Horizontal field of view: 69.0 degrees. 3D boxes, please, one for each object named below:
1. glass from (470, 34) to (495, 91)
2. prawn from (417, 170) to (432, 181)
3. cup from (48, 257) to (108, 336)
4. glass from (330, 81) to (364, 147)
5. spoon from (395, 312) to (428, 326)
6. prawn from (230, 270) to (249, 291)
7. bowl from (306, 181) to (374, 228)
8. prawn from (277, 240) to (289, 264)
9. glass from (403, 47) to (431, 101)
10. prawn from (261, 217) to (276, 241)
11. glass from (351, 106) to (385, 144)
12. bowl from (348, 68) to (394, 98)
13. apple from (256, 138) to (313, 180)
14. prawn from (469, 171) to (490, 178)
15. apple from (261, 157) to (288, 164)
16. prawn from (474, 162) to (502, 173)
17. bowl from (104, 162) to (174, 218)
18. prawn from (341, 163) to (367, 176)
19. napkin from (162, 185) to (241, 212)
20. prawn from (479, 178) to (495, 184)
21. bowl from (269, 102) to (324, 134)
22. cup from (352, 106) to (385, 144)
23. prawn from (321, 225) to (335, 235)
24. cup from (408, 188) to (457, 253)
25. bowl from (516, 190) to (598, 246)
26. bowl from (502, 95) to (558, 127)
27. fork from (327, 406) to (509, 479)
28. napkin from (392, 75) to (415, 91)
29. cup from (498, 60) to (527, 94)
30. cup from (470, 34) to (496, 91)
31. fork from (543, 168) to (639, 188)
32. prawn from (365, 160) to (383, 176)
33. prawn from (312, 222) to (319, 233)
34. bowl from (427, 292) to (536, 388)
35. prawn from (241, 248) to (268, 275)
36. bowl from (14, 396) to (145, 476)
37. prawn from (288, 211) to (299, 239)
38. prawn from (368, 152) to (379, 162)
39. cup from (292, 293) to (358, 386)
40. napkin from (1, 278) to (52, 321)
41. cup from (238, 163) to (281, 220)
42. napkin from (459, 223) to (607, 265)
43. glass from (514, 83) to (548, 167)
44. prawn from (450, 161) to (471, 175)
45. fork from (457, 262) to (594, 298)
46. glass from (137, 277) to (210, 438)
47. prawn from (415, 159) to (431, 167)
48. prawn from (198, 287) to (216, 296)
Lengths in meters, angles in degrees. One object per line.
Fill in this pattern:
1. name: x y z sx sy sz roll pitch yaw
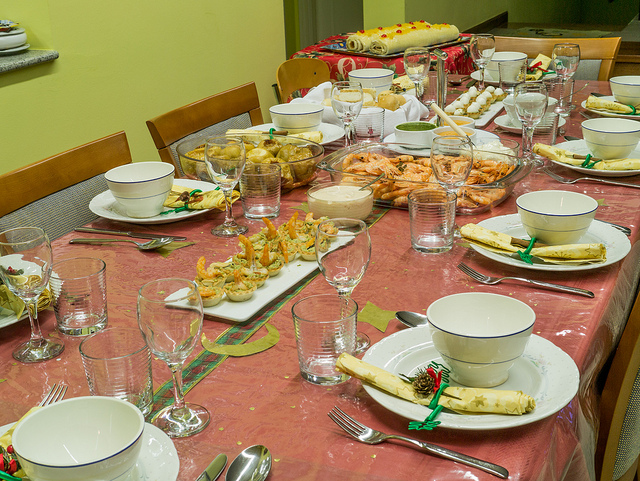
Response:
1. glass: 0.782 -0.854 2.252 0.110 0.242 0.329 8 34 16
2. prawn: 0.296 -0.181 1.286 0.033 0.010 0.031 -1 28 41
3. cup: -0.439 0.109 0.873 0.124 0.113 0.114 -5 -3 0
4. glass: 0.095 -0.396 1.569 0.108 0.235 0.096 1 27 10
5. spoon: 0.160 0.134 0.809 0.050 0.013 0.031 2 32 7
6. prawn: -0.152 0.069 0.884 0.033 0.040 0.045 2 34 8
7. bowl: 0.052 -0.104 1.175 0.170 0.076 0.150 -2 17 4
8. prawn: -0.080 0.025 0.995 0.020 0.034 0.042 -9 65 -14
9. glass: 0.414 -0.705 1.978 0.101 0.235 0.212 3 35 9
10. prawn: -0.114 -0.027 1.054 0.018 0.051 0.039 -25 57 -25
11. glass: 0.186 -0.426 1.746 0.145 0.104 0.145 1 20 14
12. bowl: 0.246 -0.753 2.157 0.240 0.143 0.214 -6 23 -6
13. apple: -0.087 -0.253 1.428 0.182 0.074 0.104 8 -5 22
14. prawn: 0.441 -0.180 1.271 0.047 0.009 0.026 5 19 -17
15. apple: -0.135 -0.236 1.366 0.047 0.021 0.044 10 26 22
16. prawn: 0.468 -0.197 1.285 0.068 0.014 0.028 -14 -15 6
17. bowl: -0.465 -0.134 1.270 0.194 0.107 0.169 1 22 4
18. prawn: 0.095 -0.202 1.293 0.065 0.014 0.046 -20 7 3
19. napkin: -0.337 -0.114 1.271 0.141 0.027 0.083 6 32 11
20. prawn: 0.449 -0.162 1.258 0.022 0.013 0.020 -14 19 -35
21. bowl: -0.070 -0.436 1.708 0.196 0.098 0.185 -2 27 1
22. cup: 0.181 -0.423 1.750 0.155 0.108 0.152 -2 17 1
23. prawn: 0.014 -0.020 0.779 0.018 0.004 0.016 0 31 -5
24. cup: 0.255 -0.047 1.100 0.143 0.131 0.129 -1 9 6
25. bowl: 0.520 -0.025 1.019 0.155 0.133 0.085 8 40 16
26. bowl: 0.768 -0.480 1.721 0.185 0.091 0.161 5 34 15
27. fork: 0.127 0.246 0.566 0.181 0.018 0.023 15 32 22
28. napkin: 0.414 -0.755 2.234 0.135 0.028 0.118 1 32 1
29. cup: 0.835 -0.688 1.979 0.130 0.131 0.143 -6 24 3
30. cup: 0.805 -0.865 2.289 0.125 0.249 0.116 -8 20 3
31. fork: 0.800 -0.179 1.342 0.267 0.026 0.027 9 36 11
32. prawn: 0.151 -0.200 1.283 0.049 0.006 0.050 6 28 7
33. prawn: -0.011 -0.033 1.066 0.007 0.025 0.028 35 5 -4
34. bowl: 0.227 0.158 0.677 0.156 0.080 0.137 1 5 -6
35. prawn: -0.133 0.043 0.931 0.050 0.041 0.056 -6 33 -5
36. bowl: -0.257 0.208 0.505 0.116 0.052 0.101 1 21 -1
37. prawn: -0.058 -0.036 1.061 0.019 0.018 0.059 22 66 -19
38. prawn: 0.156 -0.239 1.325 0.023 0.006 0.019 36 32 27
39. cup: 0.029 0.148 0.752 0.137 0.124 0.127 -3 19 1
40. napkin: -0.534 0.108 0.860 0.084 0.024 0.078 15 27 19
41. cup: -0.179 -0.123 1.283 0.149 0.134 0.136 -8 6 1
42. napkin: 0.423 0.019 1.034 0.363 0.057 0.091 6 39 31
43. glass: 0.654 -0.354 1.438 0.105 0.213 0.090 -16 23 -15
44. prawn: 0.321 -0.165 1.049 0.048 0.031 0.012 -12 37 -14
45. fork: 0.414 0.077 0.907 0.194 0.020 0.021 12 34 17
46. glass: -0.198 0.152 0.633 0.094 0.186 0.091 -5 2 31
47. prawn: 0.309 -0.229 1.378 0.044 0.021 0.012 7 66 -1
48. prawn: -0.209 0.093 0.855 0.025 0.006 0.024 14 10 36
